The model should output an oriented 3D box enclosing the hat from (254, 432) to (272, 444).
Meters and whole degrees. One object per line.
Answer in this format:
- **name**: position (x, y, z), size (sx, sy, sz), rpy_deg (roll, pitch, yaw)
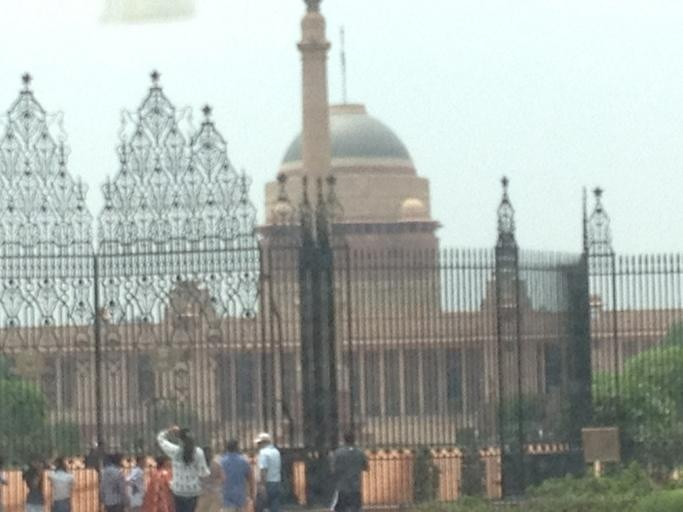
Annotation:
- **hat**: position (-1.022, 2.376, 28.194), size (0.169, 0.092, 0.130), rpy_deg (3, -1, 24)
